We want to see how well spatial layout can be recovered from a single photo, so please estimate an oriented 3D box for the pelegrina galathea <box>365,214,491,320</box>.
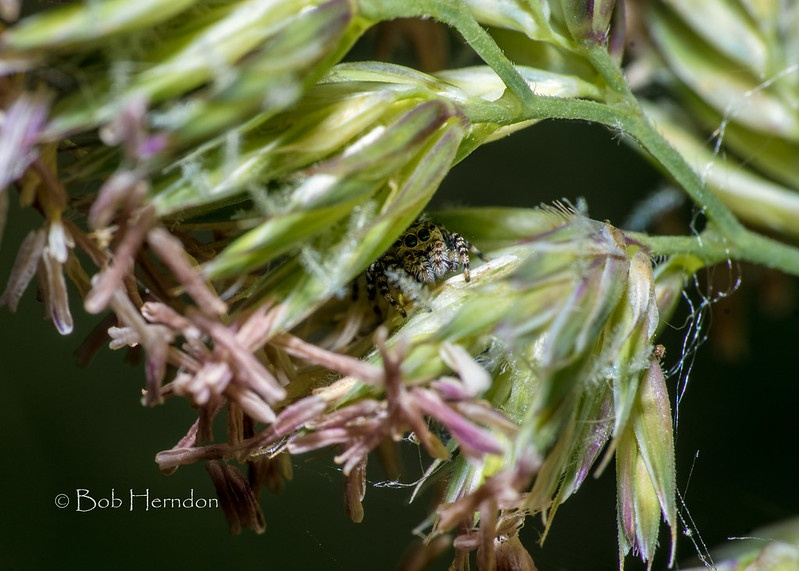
[{"bbox_3d":[0.032,-0.048,1.425,0.159,0.063,0.197,-15,24,-5],"label":"pelegrina galathea"}]
